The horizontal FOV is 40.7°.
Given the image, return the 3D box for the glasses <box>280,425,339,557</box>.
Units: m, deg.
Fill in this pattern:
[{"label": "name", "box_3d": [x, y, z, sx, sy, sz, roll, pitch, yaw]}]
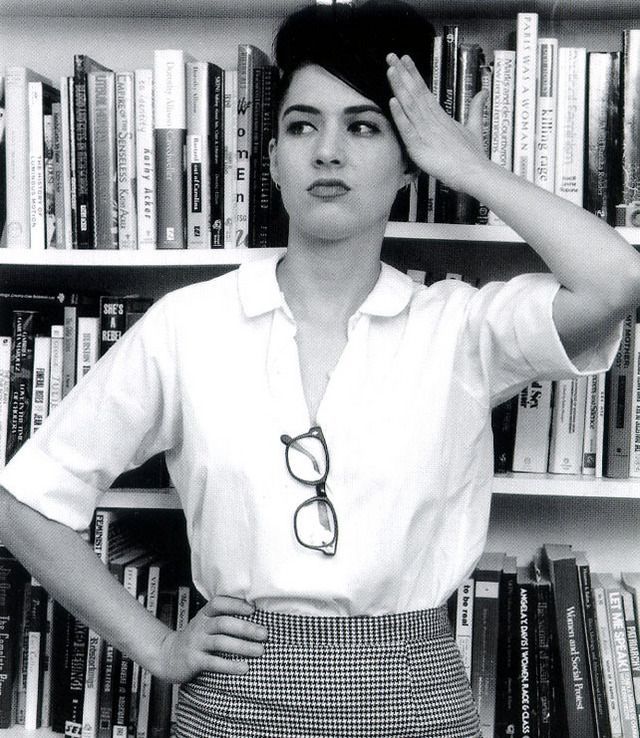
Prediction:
[{"label": "glasses", "box_3d": [-0.011, 0.142, 0.997, 0.058, 0.133, 0.073, -2, 9, -12]}]
